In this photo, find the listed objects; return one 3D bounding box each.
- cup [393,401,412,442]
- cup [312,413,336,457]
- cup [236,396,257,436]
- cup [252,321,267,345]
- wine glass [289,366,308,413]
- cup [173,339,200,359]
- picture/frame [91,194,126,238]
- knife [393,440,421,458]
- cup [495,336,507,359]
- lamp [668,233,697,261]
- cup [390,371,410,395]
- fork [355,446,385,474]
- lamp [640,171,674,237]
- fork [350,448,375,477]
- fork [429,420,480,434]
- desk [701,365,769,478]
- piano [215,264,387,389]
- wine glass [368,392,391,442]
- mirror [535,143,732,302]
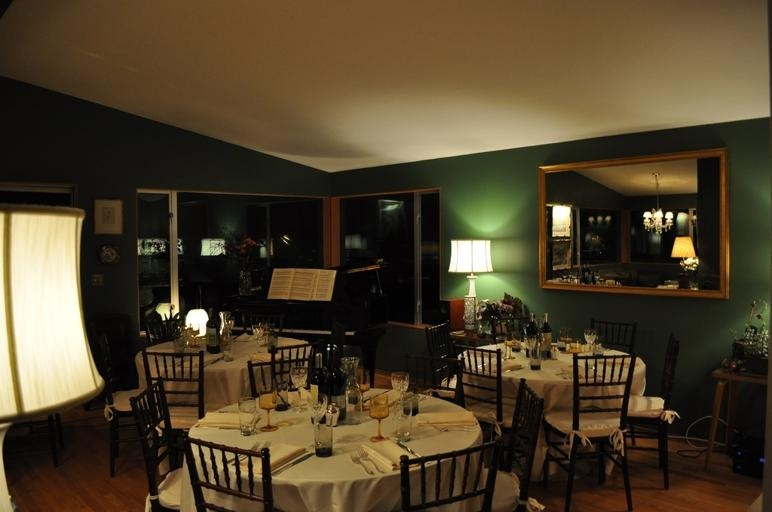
[{"bbox_3d":[0.118,1.183,4.160,0.131,0.304,0.230,-1,0,2],"label":"cup"},{"bbox_3d":[-0.442,1.244,4.026,0.144,0.293,0.277,-1,0,-7],"label":"cup"},{"bbox_3d":[-1.031,1.187,4.222,0.137,0.284,0.132,-1,0,0],"label":"cup"},{"bbox_3d":[-1.333,0.833,6.082,0.164,0.297,0.294,1,-7,-8],"label":"cup"},{"bbox_3d":[-0.706,1.042,4.575,0.134,0.358,0.361,-1,0,-8],"label":"wine glass"},{"bbox_3d":[-2.049,0.928,5.723,0.177,0.180,0.244,1,-5,-6],"label":"cup"},{"bbox_3d":[-3.617,-0.520,7.310,0.545,0.793,0.061,1,-3,-39],"label":"picture/frame"},{"bbox_3d":[0.136,1.343,3.964,0.099,0.105,0.244,-1,-1,-37],"label":"knife"},{"bbox_3d":[1.199,0.961,5.938,0.154,0.271,0.166,-2,-2,0],"label":"cup"},{"bbox_3d":[3.241,-0.094,6.196,0.216,0.326,0.233,-1,1,17],"label":"lamp"},{"bbox_3d":[0.102,0.992,4.343,0.115,0.180,0.267,-1,-1,9],"label":"cup"},{"bbox_3d":[-0.123,1.376,3.861,0.082,0.034,0.279,-6,11,-19],"label":"fork"},{"bbox_3d":[3.032,-0.591,6.330,0.319,0.639,0.079,-1,0,26],"label":"lamp"},{"bbox_3d":[-0.158,1.387,3.838,0.065,0.036,0.247,-14,18,-17],"label":"fork"},{"bbox_3d":[0.521,1.275,4.239,0.348,0.056,0.070,-1,-1,-7],"label":"fork"},{"bbox_3d":[3.522,1.602,5.726,0.528,0.906,0.733,-1,0,34],"label":"desk"},{"bbox_3d":[-0.991,0.663,7.086,2.015,1.648,1.430,-3,-6,24],"label":"piano"},{"bbox_3d":[-0.056,1.175,4.189,0.114,0.338,0.292,-1,0,1],"label":"wine glass"},{"bbox_3d":[2.890,-0.398,6.437,1.832,1.549,0.071,0,3,35],"label":"mirror"}]
